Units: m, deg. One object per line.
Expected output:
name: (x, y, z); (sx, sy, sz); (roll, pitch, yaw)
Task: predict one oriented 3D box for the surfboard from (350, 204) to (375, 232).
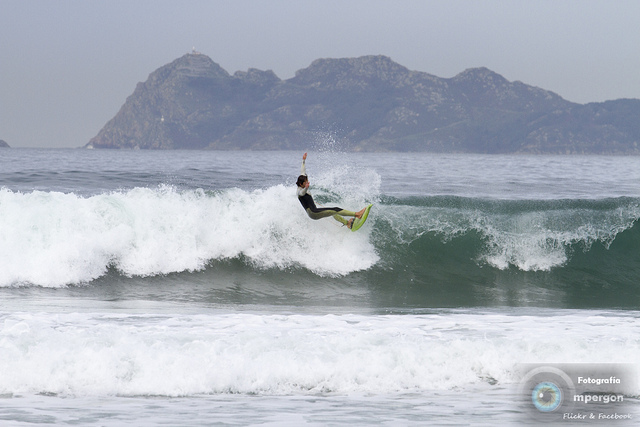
surfboard: (1.276, 0.273, 28.290); (0.544, 0.387, 1.233); (26, -41, -7)
